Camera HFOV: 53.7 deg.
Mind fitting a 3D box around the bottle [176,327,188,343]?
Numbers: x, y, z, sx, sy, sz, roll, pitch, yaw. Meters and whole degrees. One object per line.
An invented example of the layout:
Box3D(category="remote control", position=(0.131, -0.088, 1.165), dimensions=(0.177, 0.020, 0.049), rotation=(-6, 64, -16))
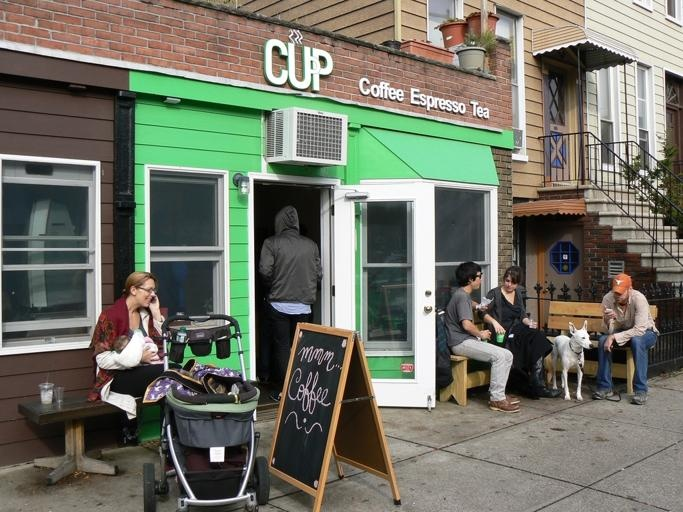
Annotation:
Box3D(category="bottle", position=(-1.454, 0.723, 6.132), dimensions=(0.105, 0.116, 0.093), rotation=(8, -7, -35))

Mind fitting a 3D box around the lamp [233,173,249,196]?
Box3D(category="lamp", position=(-1.178, -0.847, 7.994), dimensions=(0.193, 0.351, 0.216), rotation=(-4, 7, -43))

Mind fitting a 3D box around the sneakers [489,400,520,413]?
Box3D(category="sneakers", position=(2.090, 1.891, 8.618), dimensions=(0.374, 0.177, 0.146), rotation=(-2, 0, 24))

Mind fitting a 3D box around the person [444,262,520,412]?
Box3D(category="person", position=(1.880, 1.018, 8.941), dimensions=(1.010, 1.816, 0.707), rotation=(3, 6, 25))

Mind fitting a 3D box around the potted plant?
Box3D(category="potted plant", position=(2.017, -3.432, 10.760), dimensions=(0.921, 0.772, 0.966), rotation=(0, 1, -14))

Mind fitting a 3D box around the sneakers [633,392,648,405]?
Box3D(category="sneakers", position=(3.963, 1.850, 8.941), dimensions=(0.185, 0.144, 0.380), rotation=(4, 8, 27))

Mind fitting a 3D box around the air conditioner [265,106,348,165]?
Box3D(category="air conditioner", position=(-0.391, -1.485, 8.483), dimensions=(0.897, 0.641, 0.537), rotation=(-2, 5, -45))

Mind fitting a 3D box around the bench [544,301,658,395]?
Box3D(category="bench", position=(3.660, 1.267, 9.818), dimensions=(1.394, 1.130, 0.608), rotation=(7, -4, -39))

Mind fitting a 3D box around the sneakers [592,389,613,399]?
Box3D(category="sneakers", position=(3.584, 1.872, 9.130), dimensions=(0.328, 0.169, 0.124), rotation=(7, -7, -28))

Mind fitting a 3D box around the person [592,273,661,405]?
Box3D(category="person", position=(3.855, 1.071, 9.141), dimensions=(0.701, 1.666, 0.741), rotation=(3, 6, 28))

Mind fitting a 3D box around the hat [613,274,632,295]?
Box3D(category="hat", position=(3.781, 0.362, 9.090), dimensions=(0.229, 0.244, 0.390), rotation=(3, 7, 21))

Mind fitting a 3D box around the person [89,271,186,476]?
Box3D(category="person", position=(-2.059, 1.028, 6.895), dimensions=(0.889, 1.693, 0.731), rotation=(4, 2, 14))

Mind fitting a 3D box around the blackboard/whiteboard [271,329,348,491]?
Box3D(category="blackboard/whiteboard", position=(-0.305, 1.330, 6.204), dimensions=(0.498, 1.298, 0.763), rotation=(-5, 8, -44))

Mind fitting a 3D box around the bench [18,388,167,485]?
Box3D(category="bench", position=(-2.690, 1.802, 6.769), dimensions=(0.916, 0.670, 0.985), rotation=(-2, 0, 29))
